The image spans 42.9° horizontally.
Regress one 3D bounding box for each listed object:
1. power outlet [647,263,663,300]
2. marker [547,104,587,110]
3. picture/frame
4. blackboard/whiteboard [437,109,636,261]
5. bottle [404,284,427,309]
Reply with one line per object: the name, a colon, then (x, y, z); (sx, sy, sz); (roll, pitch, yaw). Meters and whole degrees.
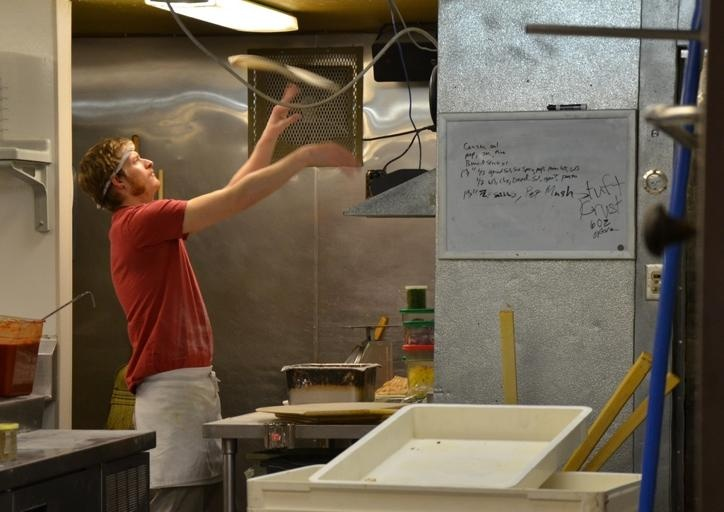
power outlet: (1.003, 0.091, 3.158); (0.048, 0.123, 0.079); (-1, -3, 10)
marker: (0.725, -0.520, 3.234); (0.138, 0.030, 0.034); (-1, -3, 8)
picture/frame: (0.650, -0.248, 3.230); (0.530, 0.390, 0.022); (0, 1, 8)
blackboard/whiteboard: (0.650, -0.248, 3.231); (0.540, 0.398, 0.022); (0, 1, 8)
bottle: (0.225, 0.176, 3.883); (0.097, 0.091, 0.097); (0, -3, 12)
